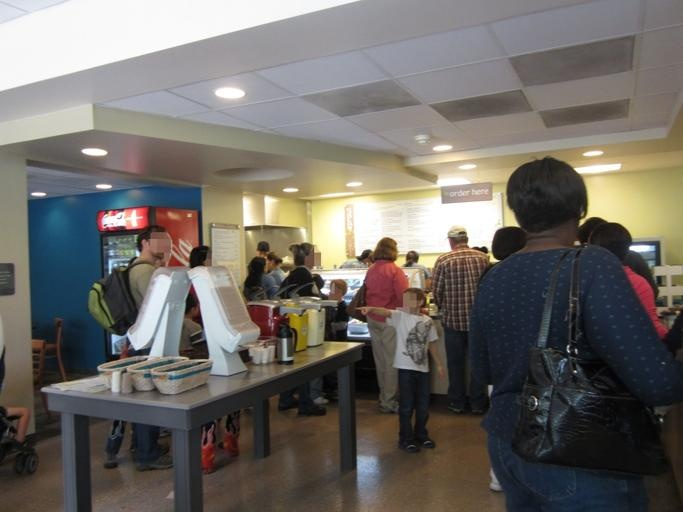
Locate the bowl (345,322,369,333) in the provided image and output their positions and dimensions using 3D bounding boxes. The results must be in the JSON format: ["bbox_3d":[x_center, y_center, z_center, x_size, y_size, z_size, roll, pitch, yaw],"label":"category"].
[{"bbox_3d":[0.192,0.844,6.075,0.235,0.092,0.167,3,-1,-17],"label":"bowl"}]

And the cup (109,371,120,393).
[{"bbox_3d":[-1.179,0.651,2.612,0.049,0.089,0.057,-3,2,-21],"label":"cup"}]

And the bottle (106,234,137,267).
[{"bbox_3d":[-2.897,-0.090,6.589,0.440,0.397,0.238,3,7,25],"label":"bottle"}]

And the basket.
[{"bbox_3d":[-1.042,0.640,2.751,0.582,0.121,0.391,-1,2,25],"label":"basket"}]

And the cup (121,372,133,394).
[{"bbox_3d":[-1.124,0.656,2.610,0.057,0.079,0.049,-3,2,-24],"label":"cup"}]

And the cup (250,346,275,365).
[{"bbox_3d":[-0.509,0.628,3.206,0.138,0.082,0.107,-2,0,-18],"label":"cup"}]

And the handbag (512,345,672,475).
[{"bbox_3d":[0.737,0.445,1.461,0.410,0.361,0.178,3,-14,-1],"label":"handbag"}]
